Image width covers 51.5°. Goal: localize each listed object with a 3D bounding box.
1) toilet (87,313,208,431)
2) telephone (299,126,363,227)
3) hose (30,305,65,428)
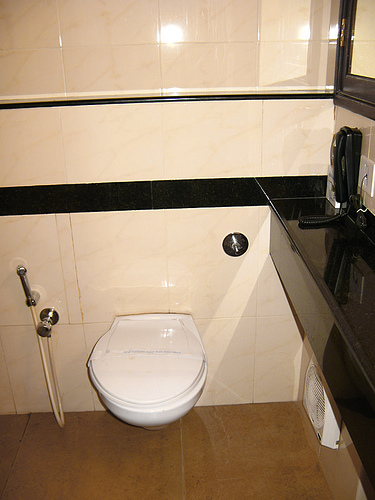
[{"bbox_3d":[-0.151,0.512,1.433,0.416,0.337,0.567,0,17,-11],"label":"toilet"},{"bbox_3d":[0.454,-0.242,1.241,0.145,0.305,0.154,1,17,11],"label":"telephone"},{"bbox_3d":[-0.578,0.495,1.624,0.087,0.551,0.331,-5,1,-20],"label":"hose"}]
